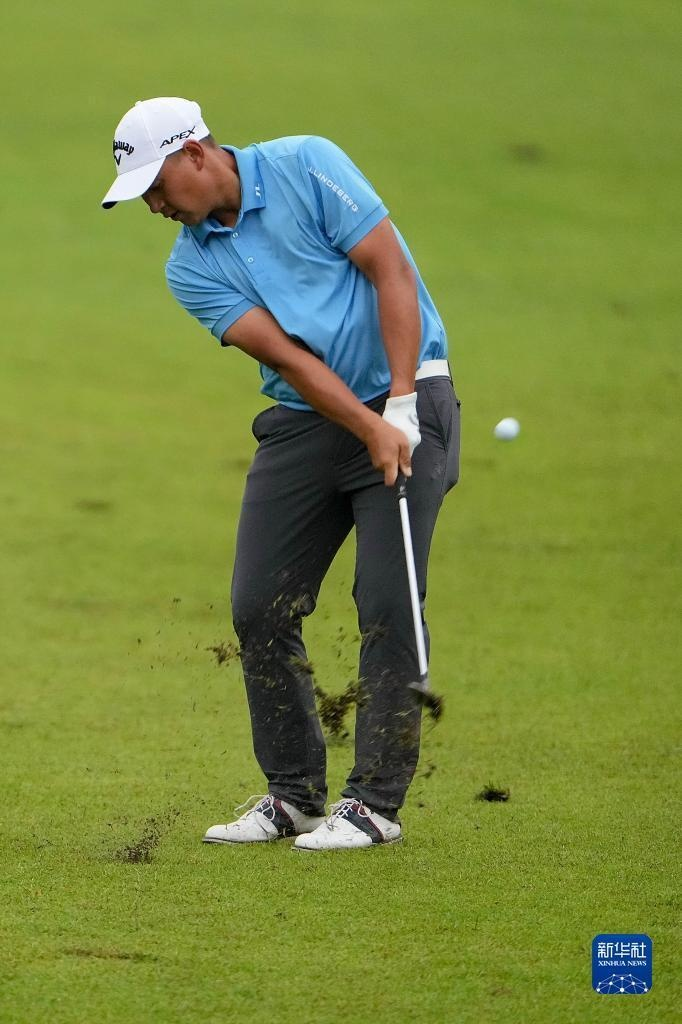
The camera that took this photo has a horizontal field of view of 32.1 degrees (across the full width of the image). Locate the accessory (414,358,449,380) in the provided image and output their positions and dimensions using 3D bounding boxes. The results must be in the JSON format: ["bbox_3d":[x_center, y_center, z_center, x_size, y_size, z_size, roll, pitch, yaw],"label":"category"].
[{"bbox_3d":[0.159,-0.246,2.055,0.051,0.027,0.047,1,-8,-9],"label":"accessory"}]

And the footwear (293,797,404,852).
[{"bbox_3d":[0.015,0.530,2.046,0.164,0.057,0.084,-2,-1,-24],"label":"footwear"}]

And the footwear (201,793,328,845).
[{"bbox_3d":[-0.133,0.558,2.164,0.224,0.069,0.076,1,-7,-20],"label":"footwear"}]

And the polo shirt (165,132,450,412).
[{"bbox_3d":[-0.101,-0.409,2.007,0.365,0.451,0.177,6,13,33],"label":"polo shirt"}]

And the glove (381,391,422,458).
[{"bbox_3d":[0.099,-0.144,1.957,0.058,0.106,0.129,-1,10,2],"label":"glove"}]
